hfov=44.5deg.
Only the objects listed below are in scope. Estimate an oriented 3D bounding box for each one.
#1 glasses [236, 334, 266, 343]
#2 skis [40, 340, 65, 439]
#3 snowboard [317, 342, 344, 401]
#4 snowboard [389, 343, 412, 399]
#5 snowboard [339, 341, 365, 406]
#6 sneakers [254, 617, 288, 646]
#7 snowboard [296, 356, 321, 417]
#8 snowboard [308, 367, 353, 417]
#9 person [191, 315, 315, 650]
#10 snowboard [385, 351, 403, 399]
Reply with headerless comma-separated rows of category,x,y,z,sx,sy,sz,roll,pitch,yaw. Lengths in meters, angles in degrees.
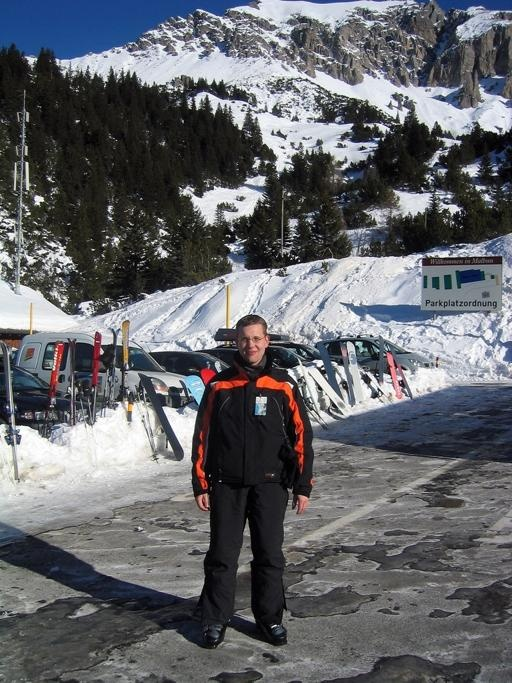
glasses,-0.016,-0.010,3.189,0.146,0.033,0.057,-1,0,-5
skis,-3.120,0.753,9.561,0.154,1.337,0.158,9,11,-24
snowboard,1.637,0.665,13.583,0.348,1.548,0.171,-29,13,-23
snowboard,3.594,0.960,15.626,0.409,1.531,0.236,-12,12,14
snowboard,2.170,0.786,14.067,0.479,1.531,0.274,-8,-10,-14
sneakers,0.058,1.471,3.197,0.080,0.091,0.210,3,-6,-28
snowboard,1.035,0.875,12.419,0.373,1.394,0.253,-16,-41,-2
snowboard,1.526,1.074,12.913,0.292,1.132,0.214,-46,10,-33
person,-0.017,0.695,3.223,0.626,1.471,0.274,-2,1,-6
snowboard,3.385,0.848,15.499,0.326,1.204,0.152,-11,-9,-28
